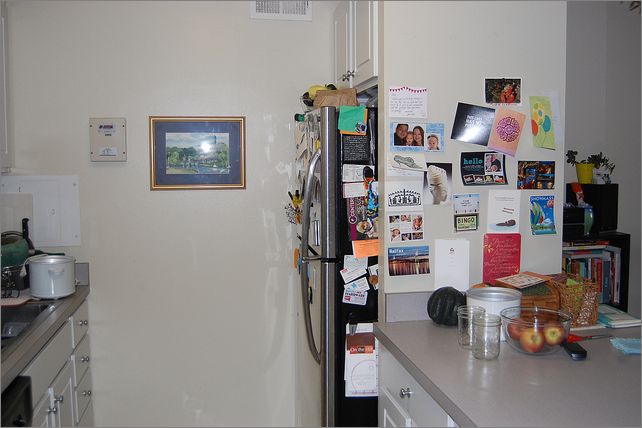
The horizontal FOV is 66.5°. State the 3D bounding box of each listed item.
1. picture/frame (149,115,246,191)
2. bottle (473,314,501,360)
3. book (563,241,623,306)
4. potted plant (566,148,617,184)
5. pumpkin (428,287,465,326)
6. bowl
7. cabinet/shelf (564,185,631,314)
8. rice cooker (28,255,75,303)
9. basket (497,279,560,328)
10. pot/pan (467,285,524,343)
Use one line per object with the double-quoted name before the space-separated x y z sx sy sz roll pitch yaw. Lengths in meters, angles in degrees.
"picture/frame" -0.905 -0.452 3.593 0.672 0.526 0.054 -1 5 -5
"bottle" 0.805 0.604 2.390 0.130 0.201 0.075 2 6 18
"book" 2.032 0.429 3.676 0.298 0.581 0.561 1 1 2
"potted plant" 2.381 -0.427 4.381 0.380 0.356 0.241 0 10 -4
"pumpkin" 0.702 0.518 2.745 0.208 0.205 0.112 1 6 13
"bowl" 1.089 0.597 2.534 0.335 0.197 0.356 -1 2 0
"cabinet/shelf" 2.153 0.278 3.842 0.828 1.095 0.426 -1 1 -21
"rice cooker" -1.717 0.403 3.118 0.254 0.266 0.216 -4 7 -35
"basket" 1.213 0.488 2.752 0.238 0.160 0.184 0 0 -5
"pot/pan" 0.913 0.507 2.592 0.229 0.261 0.273 0 0 -23
